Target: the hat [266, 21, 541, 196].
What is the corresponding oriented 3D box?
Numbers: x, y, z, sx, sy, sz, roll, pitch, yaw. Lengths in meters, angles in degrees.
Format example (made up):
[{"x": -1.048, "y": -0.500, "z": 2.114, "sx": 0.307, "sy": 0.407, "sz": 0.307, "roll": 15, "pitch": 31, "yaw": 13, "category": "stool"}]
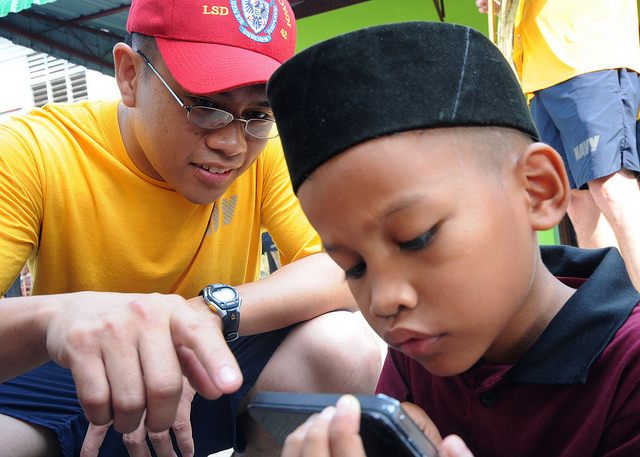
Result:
[{"x": 0.226, "y": -0.408, "z": 1.838, "sx": 0.625, "sy": 0.267, "sz": 0.529, "roll": -20, "pitch": -8, "yaw": 4, "category": "hat"}]
